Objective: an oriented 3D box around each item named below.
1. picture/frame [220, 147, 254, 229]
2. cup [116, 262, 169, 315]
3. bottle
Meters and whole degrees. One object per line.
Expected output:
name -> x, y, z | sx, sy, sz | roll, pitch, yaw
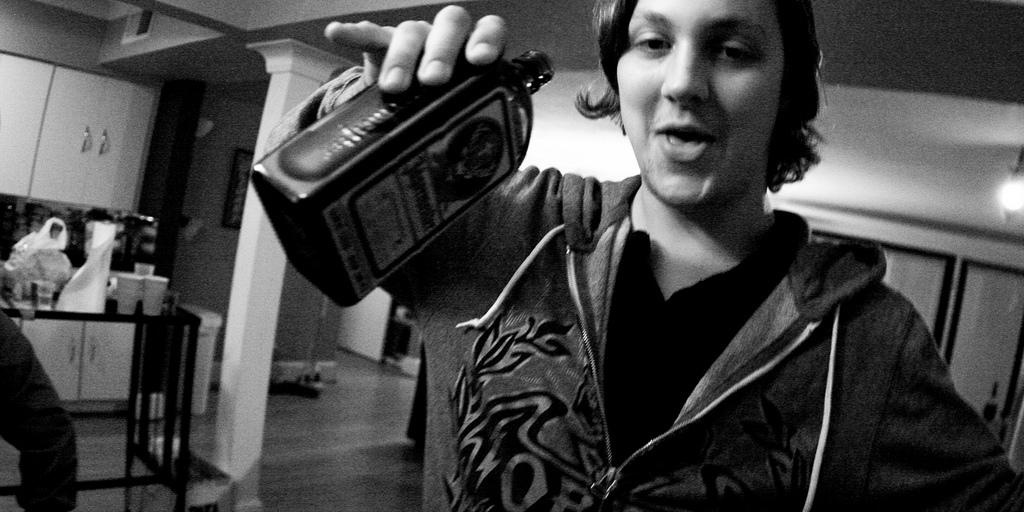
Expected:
picture/frame -> -0.666, -0.164, 2.037 | 0.074, 0.154, 0.029 | 10, 2, 23
cup -> -0.920, 0.090, 2.121 | 0.149, 0.083, 0.134 | 17, -41, -32
bottle -> -0.232, -0.269, 1.914 | 0.357, 0.360, 0.881 | 25, 49, 22
